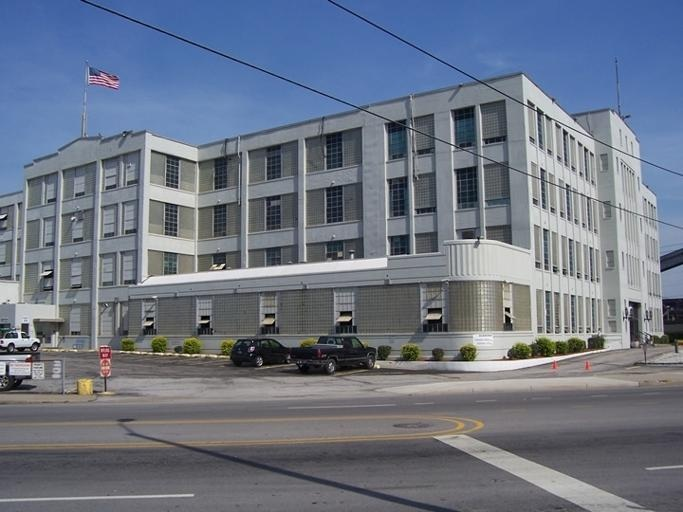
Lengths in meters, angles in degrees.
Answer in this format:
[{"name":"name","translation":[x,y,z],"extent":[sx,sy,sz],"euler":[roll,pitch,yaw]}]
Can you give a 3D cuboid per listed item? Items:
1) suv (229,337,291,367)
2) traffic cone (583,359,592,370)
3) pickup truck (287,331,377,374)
[{"name":"suv","translation":[-4.881,5.720,45.998],"extent":[3.186,1.327,1.883],"euler":[0,-3,-43]},{"name":"traffic cone","translation":[14.114,6.308,44.801],"extent":[0.458,0.614,0.468],"euler":[-4,2,4]},{"name":"pickup truck","translation":[-0.440,5.273,42.141],"extent":[1.989,1.433,4.155],"euler":[-4,-5,41]}]
